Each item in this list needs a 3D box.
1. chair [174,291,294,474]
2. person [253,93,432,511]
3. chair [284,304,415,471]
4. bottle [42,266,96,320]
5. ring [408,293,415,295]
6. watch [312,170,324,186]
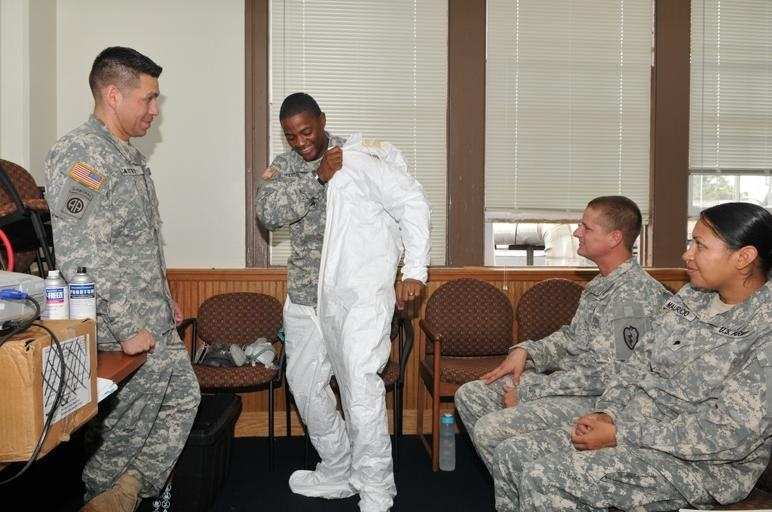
[{"bbox_3d":[-0.981,0.758,4.435,0.683,0.989,0.640,2,0,-1],"label":"chair"},{"bbox_3d":[-0.249,0.259,4.027,0.893,2.362,0.555,3,7,33],"label":"person"},{"bbox_3d":[-0.371,0.812,4.606,0.878,1.356,0.946,0,-7,-6],"label":"chair"},{"bbox_3d":[-1.444,0.174,3.190,0.172,0.231,0.370,0,7,5],"label":"bottle"},{"bbox_3d":[0.140,0.211,3.886,0.017,0.013,0.017,0,3,0],"label":"ring"},{"bbox_3d":[-0.373,-0.431,3.827,0.035,0.067,0.049,-45,41,-12],"label":"watch"}]
